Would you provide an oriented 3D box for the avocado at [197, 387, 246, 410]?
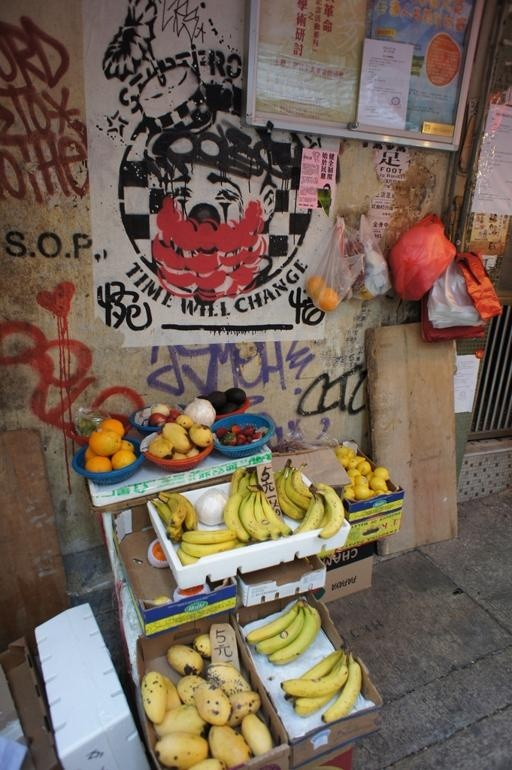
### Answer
[{"bbox_3d":[-0.163,0.073,2.988,0.196,0.080,0.121,-13,40,-41],"label":"avocado"}]

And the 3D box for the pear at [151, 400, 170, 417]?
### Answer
[{"bbox_3d":[-0.508,0.133,2.838,0.077,0.070,0.067,-17,18,24],"label":"pear"}]

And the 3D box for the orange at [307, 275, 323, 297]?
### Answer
[{"bbox_3d":[0.356,-0.597,3.389,0.095,0.134,0.103,6,-9,-2],"label":"orange"}]

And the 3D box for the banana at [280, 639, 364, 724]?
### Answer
[{"bbox_3d":[0.267,1.136,2.032,0.313,0.152,0.202,-16,18,-31],"label":"banana"}]

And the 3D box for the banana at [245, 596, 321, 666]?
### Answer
[{"bbox_3d":[0.122,1.034,2.256,0.187,0.125,0.323,18,21,41],"label":"banana"}]

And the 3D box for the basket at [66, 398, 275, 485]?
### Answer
[{"bbox_3d":[-0.351,0.319,2.727,0.745,0.156,0.535,-11,33,-17],"label":"basket"}]

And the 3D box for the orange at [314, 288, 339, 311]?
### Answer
[{"bbox_3d":[0.441,-0.519,3.372,0.125,0.153,0.129,-5,4,7],"label":"orange"}]

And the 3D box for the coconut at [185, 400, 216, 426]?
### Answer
[{"bbox_3d":[-0.286,0.135,2.794,0.133,0.150,0.127,15,4,31],"label":"coconut"}]
